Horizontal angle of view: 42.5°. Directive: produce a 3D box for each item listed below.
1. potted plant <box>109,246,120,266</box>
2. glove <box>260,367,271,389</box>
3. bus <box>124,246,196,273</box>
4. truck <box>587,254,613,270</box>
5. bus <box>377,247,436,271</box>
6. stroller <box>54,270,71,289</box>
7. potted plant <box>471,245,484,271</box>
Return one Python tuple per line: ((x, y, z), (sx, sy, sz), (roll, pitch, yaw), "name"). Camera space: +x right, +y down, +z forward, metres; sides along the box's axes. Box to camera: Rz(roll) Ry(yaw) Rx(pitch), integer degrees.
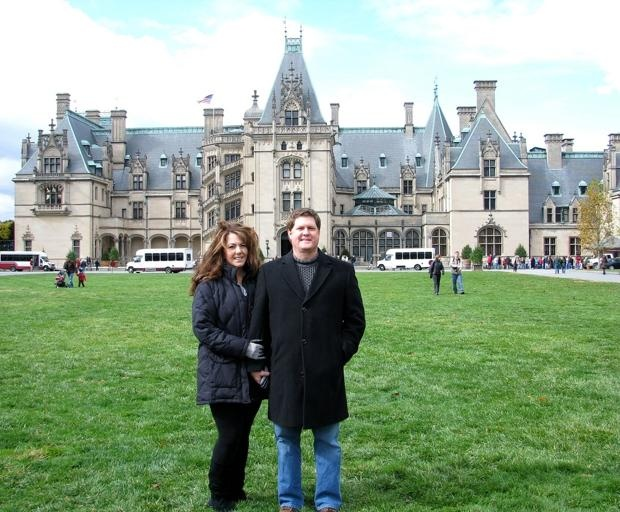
((-17.855, 0.237, 72.602), (0.831, 1.723, 3.662), (-2, 8, -14), "potted plant")
((-0.539, 1.450, 9.435), (0.142, 0.212, 0.460), (2, -14, -1), "glove")
((-11.883, 0.556, 63.449), (4.379, 2.230, 5.935), (-1, 8, -1), "bus")
((22.264, 0.479, 61.273), (1.826, 1.224, 1.068), (1, -2, 7), "truck")
((7.698, 0.170, 63.961), (4.709, 2.116, 1.859), (1, -2, 8), "bus")
((-11.737, 1.134, 37.834), (0.654, 0.979, 0.504), (0, -4, -23), "stroller")
((12.218, 0.185, 58.517), (0.775, 1.514, 2.679), (1, 8, 11), "potted plant")
